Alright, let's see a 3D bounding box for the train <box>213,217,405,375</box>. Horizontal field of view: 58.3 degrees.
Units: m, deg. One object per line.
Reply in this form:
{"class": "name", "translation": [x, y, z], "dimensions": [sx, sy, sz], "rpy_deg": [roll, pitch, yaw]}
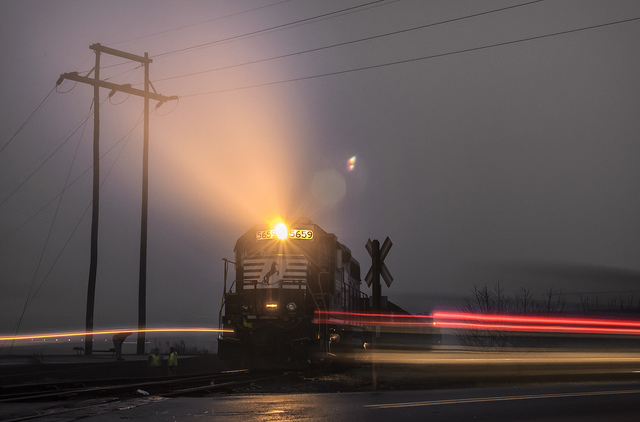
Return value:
{"class": "train", "translation": [-1.969, 4.276, 28.193], "dimensions": [4.397, 5.225, 13.783], "rpy_deg": [-3, -10, 14]}

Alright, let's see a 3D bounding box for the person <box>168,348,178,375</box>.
{"class": "person", "translation": [-7.168, 7.252, 27.651], "dimensions": [0.447, 1.196, 1.340], "rpy_deg": [6, -19, -15]}

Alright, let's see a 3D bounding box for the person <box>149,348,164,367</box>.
{"class": "person", "translation": [-7.647, 6.790, 26.555], "dimensions": [0.558, 0.801, 0.460], "rpy_deg": [14, -22, -35]}
